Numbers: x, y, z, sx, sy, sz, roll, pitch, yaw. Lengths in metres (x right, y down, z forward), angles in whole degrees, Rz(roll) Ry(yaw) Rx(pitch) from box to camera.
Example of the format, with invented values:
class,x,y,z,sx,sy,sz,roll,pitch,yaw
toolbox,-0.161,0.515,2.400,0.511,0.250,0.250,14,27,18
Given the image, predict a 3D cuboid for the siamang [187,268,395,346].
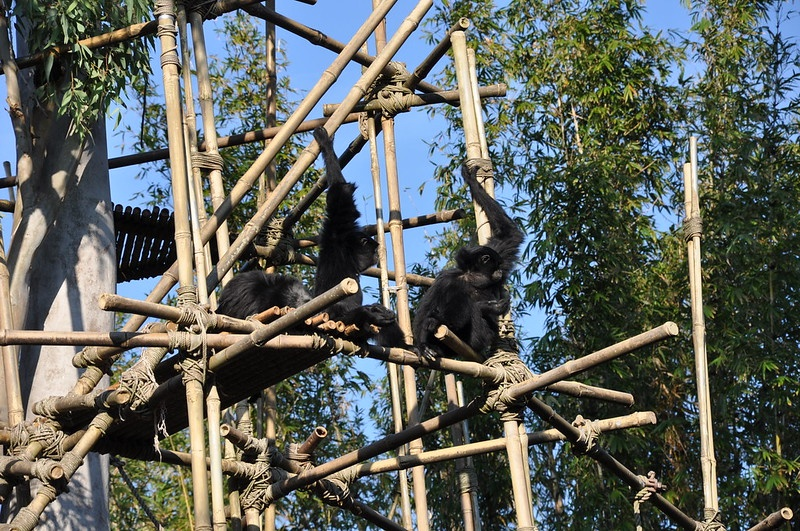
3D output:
class,x,y,z,sx,sy,sz,roll,pitch,yaw
siamang,-1.032,0.383,16.390,1.310,0.428,0.919,24,1,2
